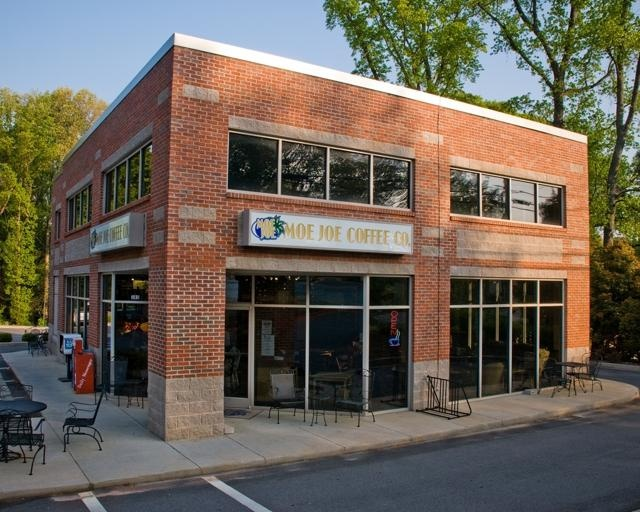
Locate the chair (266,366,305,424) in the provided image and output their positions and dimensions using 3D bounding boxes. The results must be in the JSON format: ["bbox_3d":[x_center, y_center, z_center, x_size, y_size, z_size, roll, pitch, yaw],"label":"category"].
[{"bbox_3d":[-0.884,3.876,17.427,0.974,1.177,0.961,-2,-5,40],"label":"chair"}]

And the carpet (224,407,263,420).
[{"bbox_3d":[-2.154,4.420,17.678,1.070,0.035,1.027,1,3,3],"label":"carpet"}]

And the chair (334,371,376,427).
[{"bbox_3d":[0.950,3.969,17.835,1.443,1.453,1.451,5,-29,-2],"label":"chair"}]

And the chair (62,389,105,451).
[{"bbox_3d":[-5.784,4.041,15.501,0.922,1.129,0.853,1,1,-12],"label":"chair"}]
